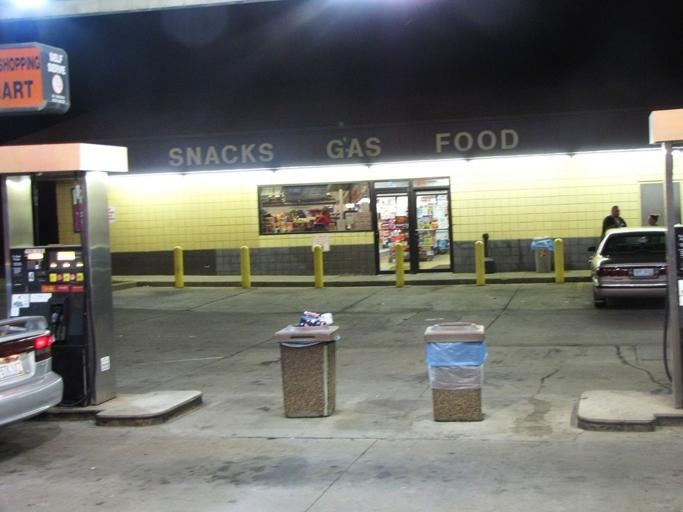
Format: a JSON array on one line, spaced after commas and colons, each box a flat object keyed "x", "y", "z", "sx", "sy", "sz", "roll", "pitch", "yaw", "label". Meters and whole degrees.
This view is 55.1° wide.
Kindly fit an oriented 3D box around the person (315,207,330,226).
[{"x": -0.666, "y": -1.406, "z": 23.242, "sx": 0.519, "sy": 0.638, "sz": 0.109, "roll": -4, "pitch": 6, "yaw": -2, "label": "person"}]

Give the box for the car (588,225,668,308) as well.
[{"x": 6.549, "y": 0.327, "z": 14.950, "sx": 1.566, "sy": 1.802, "sz": 1.677, "roll": -1, "pitch": 6, "yaw": 22, "label": "car"}]

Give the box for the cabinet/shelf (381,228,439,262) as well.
[{"x": 2.438, "y": -0.608, "z": 24.046, "sx": 1.464, "sy": 1.468, "sz": 2.398, "roll": -4, "pitch": 0, "yaw": 15, "label": "cabinet/shelf"}]

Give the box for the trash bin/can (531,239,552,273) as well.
[{"x": 6.709, "y": -0.048, "z": 21.825, "sx": 0.712, "sy": 1.139, "sz": 0.429, "roll": -3, "pitch": 6, "yaw": 7, "label": "trash bin/can"}]
